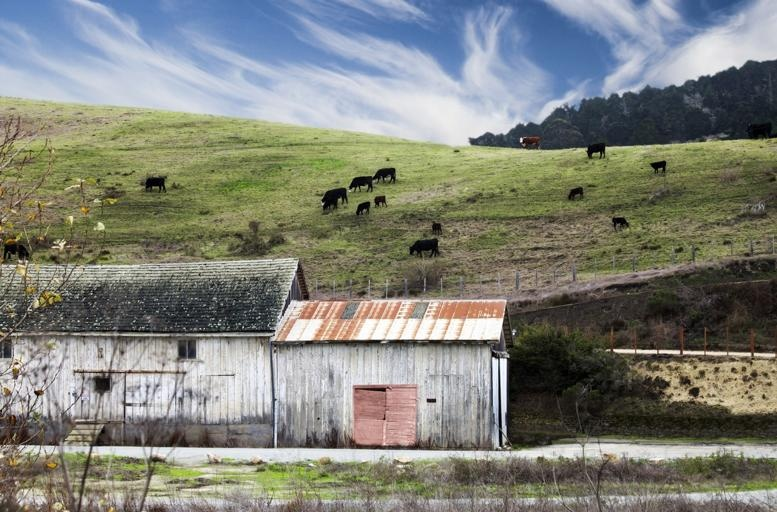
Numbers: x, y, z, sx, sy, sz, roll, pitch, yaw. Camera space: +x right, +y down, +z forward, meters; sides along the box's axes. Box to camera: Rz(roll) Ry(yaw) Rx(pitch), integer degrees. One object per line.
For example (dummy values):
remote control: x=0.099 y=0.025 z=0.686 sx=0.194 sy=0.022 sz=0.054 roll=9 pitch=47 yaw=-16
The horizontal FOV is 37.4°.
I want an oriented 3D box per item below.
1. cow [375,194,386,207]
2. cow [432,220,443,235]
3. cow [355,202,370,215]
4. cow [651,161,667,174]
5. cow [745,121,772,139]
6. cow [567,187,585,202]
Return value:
cow: x=-0.778 y=-6.322 z=130.626 sx=1.508 sy=1.424 sz=2.026 roll=1 pitch=-9 yaw=-2
cow: x=5.217 y=-2.987 z=120.393 sx=0.967 sy=1.365 sz=1.438 roll=0 pitch=-9 yaw=1
cow: x=-2.641 y=-5.401 z=127.891 sx=1.539 sy=1.710 sz=1.267 roll=2 pitch=-9 yaw=-12
cow: x=30.088 y=-9.827 z=126.872 sx=1.705 sy=1.675 sz=1.746 roll=-2 pitch=-9 yaw=11
cow: x=47.467 y=-16.162 z=146.377 sx=3.270 sy=2.627 sz=3.022 roll=3 pitch=-8 yaw=4
cow: x=20.528 y=-6.934 z=124.973 sx=1.912 sy=1.902 sz=1.602 roll=1 pitch=-9 yaw=-7
